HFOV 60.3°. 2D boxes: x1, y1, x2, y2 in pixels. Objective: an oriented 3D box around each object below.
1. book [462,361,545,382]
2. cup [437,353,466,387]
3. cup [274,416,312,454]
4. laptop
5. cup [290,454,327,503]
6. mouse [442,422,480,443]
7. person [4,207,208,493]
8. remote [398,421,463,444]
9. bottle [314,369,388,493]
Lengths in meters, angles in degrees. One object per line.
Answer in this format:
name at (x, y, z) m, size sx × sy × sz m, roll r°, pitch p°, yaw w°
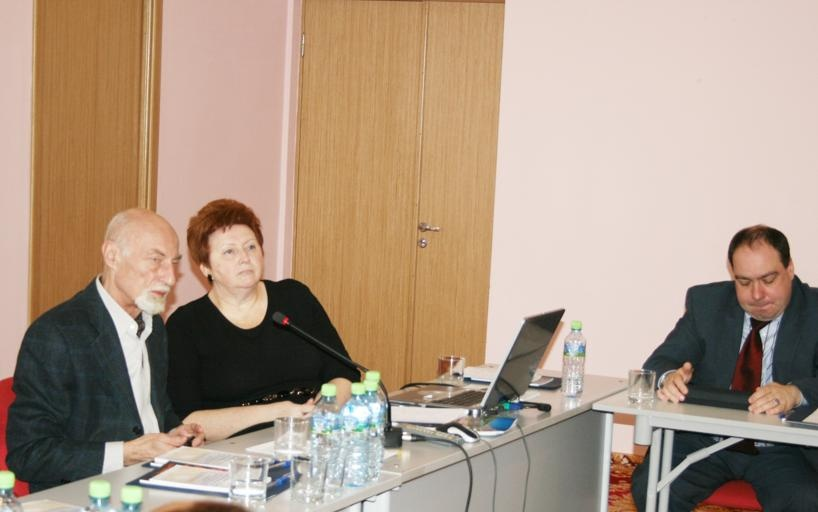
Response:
book at (0.420, 0.612, 3.649) m, size 0.239 × 0.035 × 0.265 m, roll -2°, pitch -1°, yaw 37°
cup at (0.210, 0.587, 3.592) m, size 0.138 × 0.139 × 0.137 m, roll 0°, pitch -1°, yaw 0°
cup at (-0.433, 0.671, 2.655) m, size 0.135 × 0.116 × 0.144 m, roll 0°, pitch -4°, yaw 0°
laptop at (0.293, 0.525, 3.156) m, size 0.578 × 0.330 × 0.575 m, roll 1°, pitch 0°, yaw 22°
cup at (-0.332, 0.752, 2.409) m, size 0.152 × 0.154 × 0.146 m, roll 0°, pitch -3°, yaw 0°
mouse at (0.217, 0.713, 2.840) m, size 0.122 × 0.038 × 0.068 m, roll 3°, pitch 2°, yaw 25°
person at (-1.209, 0.350, 2.815) m, size 0.667 × 1.120 × 0.466 m, roll 1°, pitch -4°, yaw -37°
remote at (0.084, 0.715, 2.854) m, size 0.258 × 0.067 × 0.176 m, roll -1°, pitch -4°, yaw 0°
bottle at (-0.216, 0.622, 2.504) m, size 0.282 × 0.405 × 0.144 m, roll 0°, pitch -3°, yaw -17°
